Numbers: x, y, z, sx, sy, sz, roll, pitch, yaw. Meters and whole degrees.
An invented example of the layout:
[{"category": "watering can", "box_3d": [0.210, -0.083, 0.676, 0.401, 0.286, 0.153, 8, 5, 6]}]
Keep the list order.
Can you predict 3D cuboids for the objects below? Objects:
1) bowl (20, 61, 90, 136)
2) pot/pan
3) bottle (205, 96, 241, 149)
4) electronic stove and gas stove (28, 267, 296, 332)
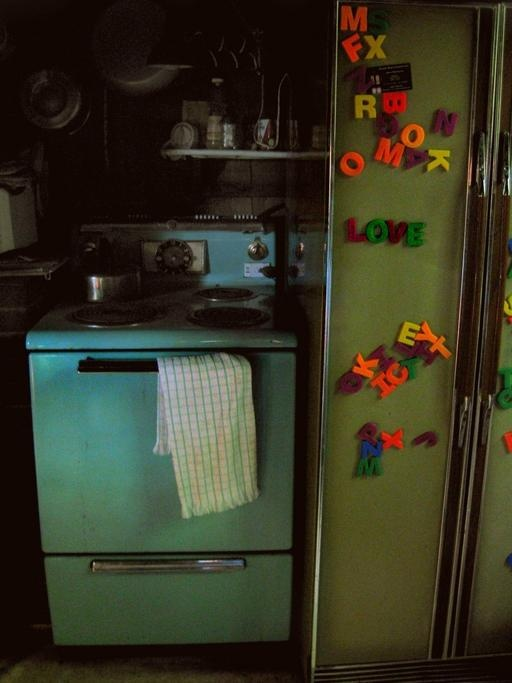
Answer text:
[{"category": "bowl", "box_3d": [-0.769, -0.920, 2.453, 0.271, 0.059, 0.259, 18, -24, 9]}, {"category": "pot/pan", "box_3d": [-0.490, -0.238, 2.233, 0.197, 0.229, 0.253, -3, 8, -15]}, {"category": "bottle", "box_3d": [-0.123, -0.802, 2.375, 0.119, 0.187, 0.205, -2, 14, -3]}, {"category": "electronic stove and gas stove", "box_3d": [-0.271, -0.147, 2.039, 0.722, 0.102, 0.628, -2, 14, -4]}]
